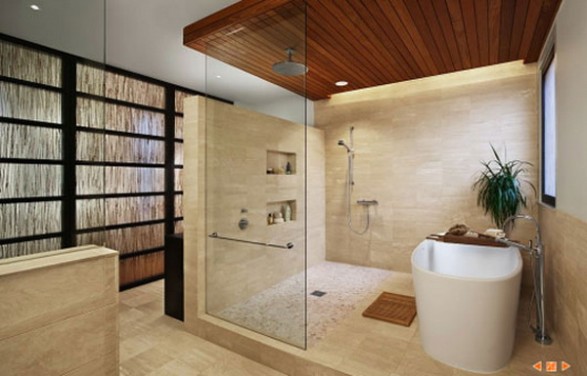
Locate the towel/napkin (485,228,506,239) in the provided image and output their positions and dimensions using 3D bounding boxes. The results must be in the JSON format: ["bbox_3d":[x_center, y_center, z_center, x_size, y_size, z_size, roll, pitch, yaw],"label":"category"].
[{"bbox_3d":[2.512,0.561,4.323,0.270,0.097,0.231,-1,3,-37],"label":"towel/napkin"}]

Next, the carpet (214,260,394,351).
[{"bbox_3d":[0.374,1.252,4.834,1.290,0.773,2.621,1,2,32],"label":"carpet"}]

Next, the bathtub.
[{"bbox_3d":[1.949,1.202,3.924,1.064,1.105,1.438,1,2,32],"label":"bathtub"}]
